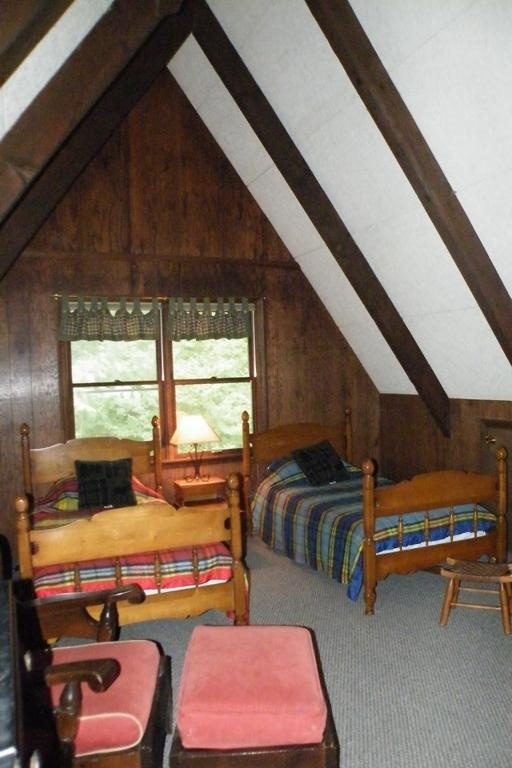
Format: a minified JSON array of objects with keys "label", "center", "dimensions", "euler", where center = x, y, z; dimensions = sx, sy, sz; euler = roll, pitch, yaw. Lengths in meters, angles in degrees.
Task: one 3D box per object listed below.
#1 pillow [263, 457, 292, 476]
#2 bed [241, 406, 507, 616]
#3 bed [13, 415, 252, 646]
[{"label":"pillow","center":[0.176,0.665,5.310],"dimensions":[0.148,0.055,0.180],"euler":[-27,13,15]},{"label":"bed","center":[0.716,0.812,4.566],"dimensions":[1.003,1.027,1.623],"euler":[-5,6,-25]},{"label":"bed","center":[-0.839,0.788,3.877],"dimensions":[1.152,1.065,1.741],"euler":[-3,0,-23]}]
